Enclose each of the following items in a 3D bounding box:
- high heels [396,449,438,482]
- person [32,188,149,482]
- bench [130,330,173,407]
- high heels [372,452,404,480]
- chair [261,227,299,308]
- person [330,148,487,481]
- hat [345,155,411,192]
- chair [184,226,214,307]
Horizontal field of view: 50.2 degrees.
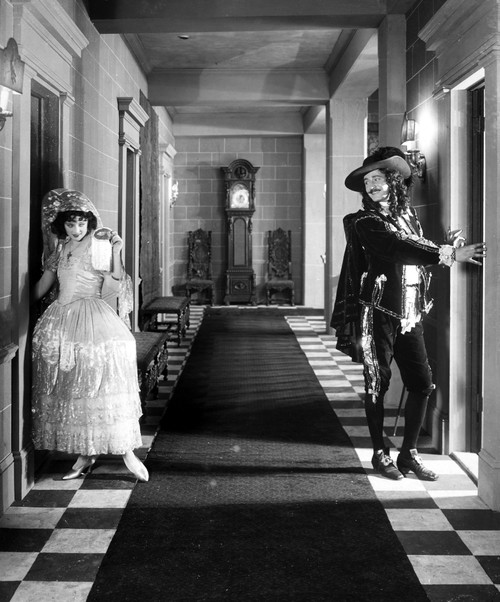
[{"bbox_3d":[0.925,0.909,3.049,0.278,0.160,0.094,7,20,38],"label":"high heels"},{"bbox_3d":[-0.857,0.186,2.859,0.609,1.594,0.382,0,-1,-6],"label":"person"},{"bbox_3d":[-0.790,0.548,4.257,0.222,0.258,0.707,-1,7,-5],"label":"bench"},{"bbox_3d":[0.767,0.928,3.026,0.073,0.101,0.222,-11,7,-19],"label":"high heels"},{"bbox_3d":[0.645,-0.777,12.139,0.678,1.741,0.615,0,-1,2],"label":"chair"},{"bbox_3d":[0.783,0.067,2.943,0.709,1.853,0.473,0,-1,18],"label":"person"},{"bbox_3d":[0.767,-0.739,2.974,0.245,0.090,0.218,-14,-11,-35],"label":"hat"},{"bbox_3d":[-1.142,-0.788,12.170,0.641,1.712,0.489,0,-1,-5],"label":"chair"}]
